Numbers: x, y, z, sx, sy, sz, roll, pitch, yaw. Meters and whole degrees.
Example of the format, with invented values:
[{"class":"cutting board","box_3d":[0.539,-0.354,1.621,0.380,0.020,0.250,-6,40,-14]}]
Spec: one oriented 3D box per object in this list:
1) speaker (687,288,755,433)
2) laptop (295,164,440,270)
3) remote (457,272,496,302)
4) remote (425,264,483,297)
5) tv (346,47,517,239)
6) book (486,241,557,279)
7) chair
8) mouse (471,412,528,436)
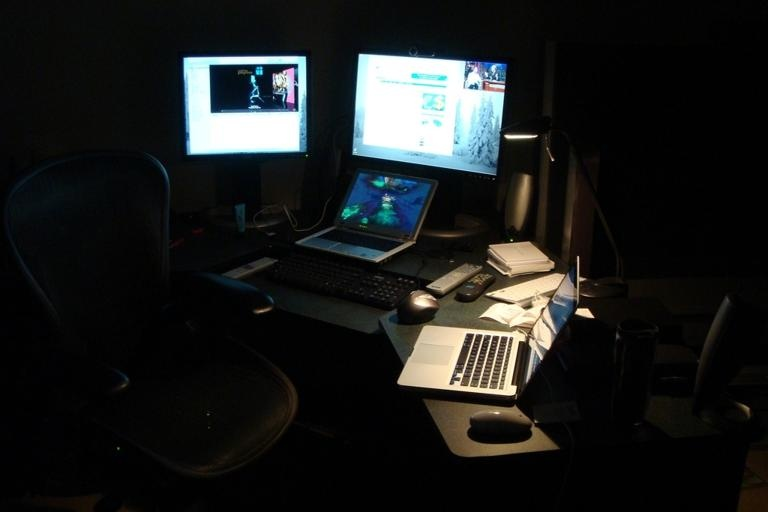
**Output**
[{"class":"speaker","box_3d":[1.004,0.311,1.733,0.165,0.386,0.122,14,23,29]},{"class":"laptop","box_3d":[-0.027,-0.189,2.597,0.444,0.283,0.464,16,23,31]},{"class":"remote","box_3d":[0.340,0.105,2.252,0.063,0.034,0.206,14,29,26]},{"class":"remote","box_3d":[0.263,0.083,2.301,0.086,0.031,0.293,19,31,35]},{"class":"tv","box_3d":[0.192,-0.499,2.609,0.733,0.754,0.253,12,15,19]},{"class":"book","box_3d":[0.547,0.005,2.407,0.159,0.038,0.169,-8,29,-23]},{"class":"chair","box_3d":[-0.862,0.297,2.114,0.858,1.173,0.771,24,42,31]},{"class":"mouse","box_3d":[0.332,0.464,1.692,0.137,0.048,0.069,-1,21,6]}]
